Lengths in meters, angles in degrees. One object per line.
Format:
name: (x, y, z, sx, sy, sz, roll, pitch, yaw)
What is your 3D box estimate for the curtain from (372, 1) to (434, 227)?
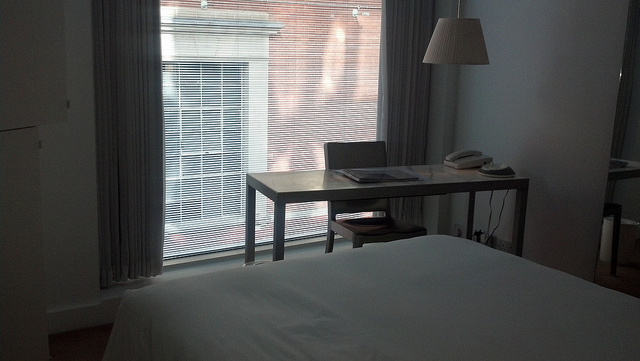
curtain: (0.919, -0.791, 4.512, 0.370, 2.084, 0.857, 3, -6, 2)

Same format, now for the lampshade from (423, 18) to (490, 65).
lampshade: (1.134, -1.160, 3.495, 0.468, 0.387, 0.211, -2, 11, -8)

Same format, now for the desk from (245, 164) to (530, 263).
desk: (0.649, 0.513, 3.874, 2.387, 1.110, 0.883, -2, 11, -19)
